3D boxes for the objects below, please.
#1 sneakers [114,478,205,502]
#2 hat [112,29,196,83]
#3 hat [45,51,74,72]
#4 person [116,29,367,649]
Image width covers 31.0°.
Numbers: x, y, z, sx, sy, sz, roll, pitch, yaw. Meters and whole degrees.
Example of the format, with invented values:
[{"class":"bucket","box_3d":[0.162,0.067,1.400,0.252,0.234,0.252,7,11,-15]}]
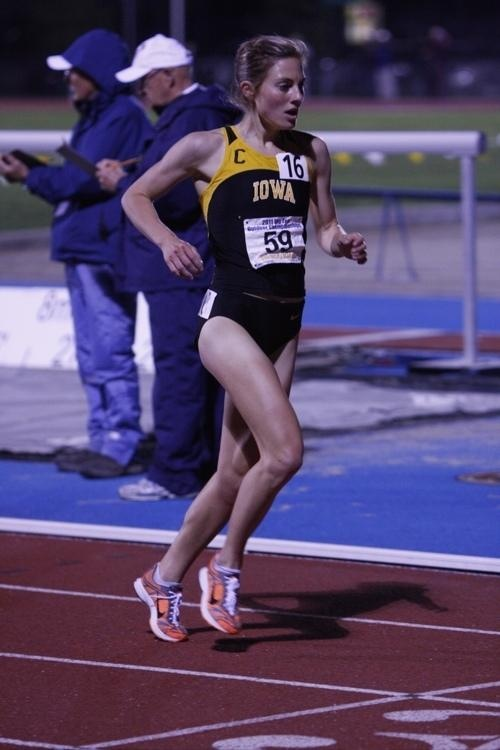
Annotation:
[{"class":"sneakers","box_3d":[-0.343,0.463,3.506,0.341,0.108,0.107,5,-1,-2]},{"class":"hat","box_3d":[-0.338,-1.179,3.322,0.326,0.149,0.182,-1,27,22]},{"class":"hat","box_3d":[-0.726,-1.173,3.390,0.128,0.066,0.037,2,3,40]},{"class":"person","box_3d":[-0.019,-0.068,2.362,0.632,1.602,0.444,1,3,11]}]
